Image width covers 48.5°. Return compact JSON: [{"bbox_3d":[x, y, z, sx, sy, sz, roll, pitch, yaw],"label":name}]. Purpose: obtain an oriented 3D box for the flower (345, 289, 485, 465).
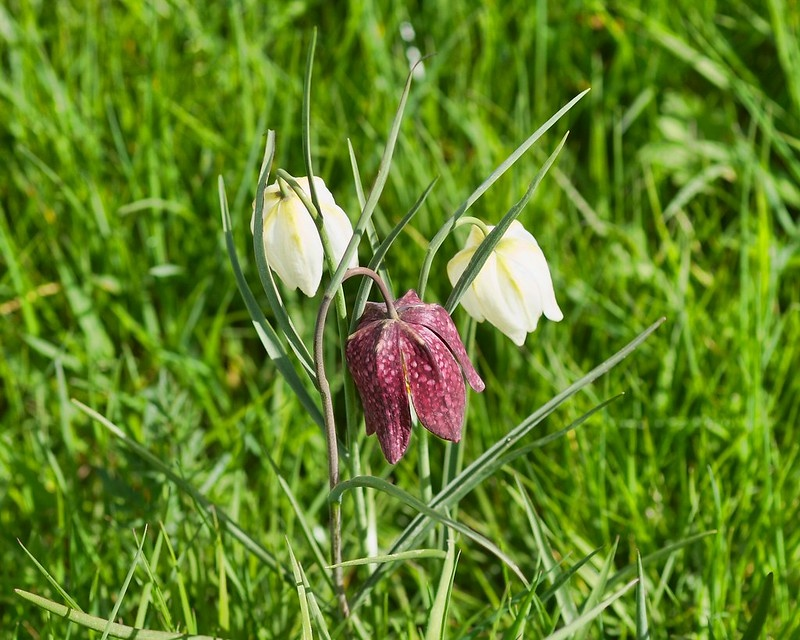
[{"bbox_3d":[0.029,0.125,1.582,0.246,0.206,0.270,17,50,-68],"label":"flower"}]
